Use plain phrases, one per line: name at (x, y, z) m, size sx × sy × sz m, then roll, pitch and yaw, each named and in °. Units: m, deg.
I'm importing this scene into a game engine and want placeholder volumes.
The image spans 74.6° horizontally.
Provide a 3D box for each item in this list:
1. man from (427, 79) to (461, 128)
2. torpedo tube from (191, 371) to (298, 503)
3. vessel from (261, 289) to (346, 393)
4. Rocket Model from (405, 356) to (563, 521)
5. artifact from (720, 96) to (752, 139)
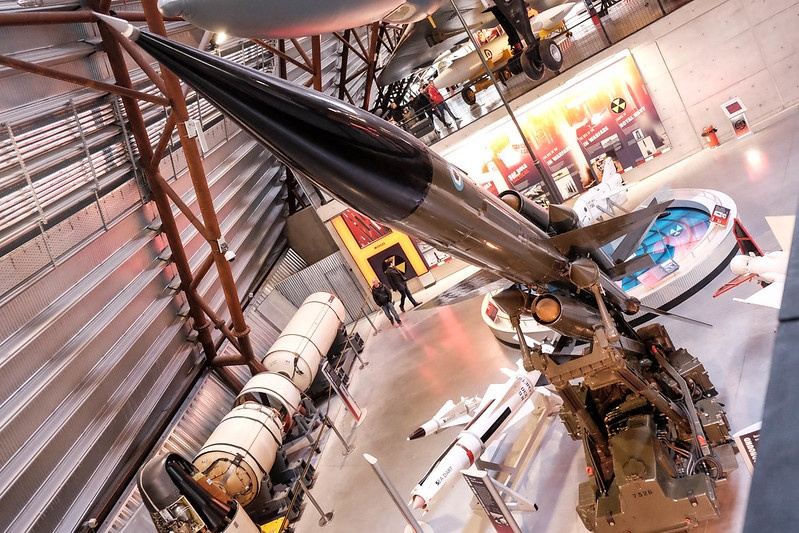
man at (1.518, -5.549, 18.102) m, size 0.605 × 1.903 × 0.507 m, roll -27°, pitch 36°, yaw 28°
torpedo tube at (-3.226, 3.654, 11.003) m, size 0.907 × 0.996 × 1.936 m, roll -10°, pitch 8°, yaw 6°
vessel at (-2.572, 2.056, 14.672) m, size 1.422 × 1.544 × 4.051 m, roll 5°, pitch 22°, yaw 6°
Rocket Model at (1.302, 2.923, 8.814) m, size 2.250 × 1.965 × 3.124 m, roll -23°, pitch 15°, yaw 38°
artifact at (11.319, -4.957, 17.481) m, size 0.567 × 1.086 × 1.384 m, roll -23°, pitch 15°, yaw 35°
